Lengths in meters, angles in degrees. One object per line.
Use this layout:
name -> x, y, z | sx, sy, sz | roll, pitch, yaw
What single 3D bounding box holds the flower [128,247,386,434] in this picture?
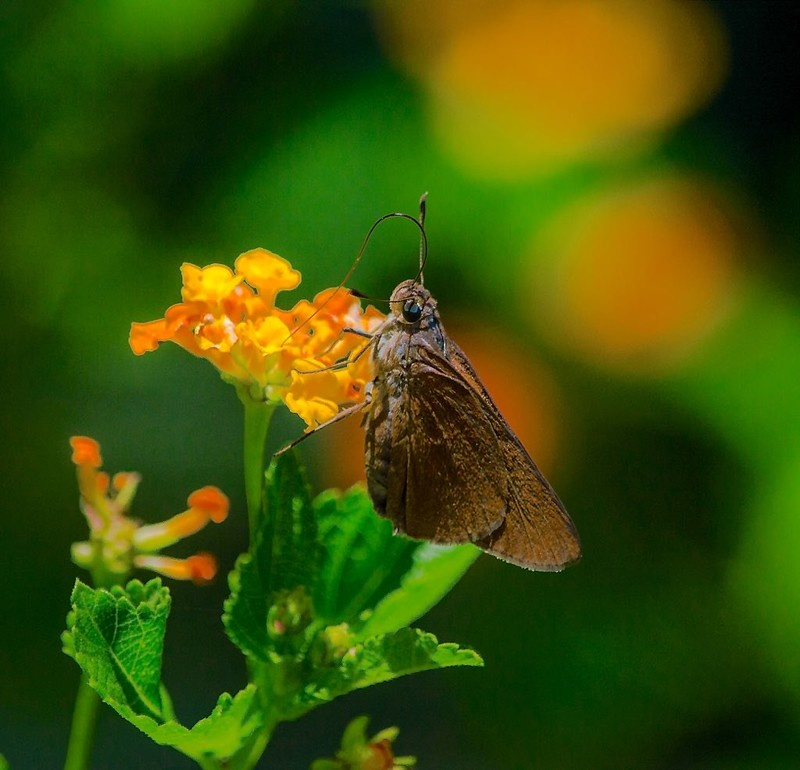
flower -> -0.239, -0.088, 2.109 | 0.532, 0.213, 0.542 | 13, 18, 29
